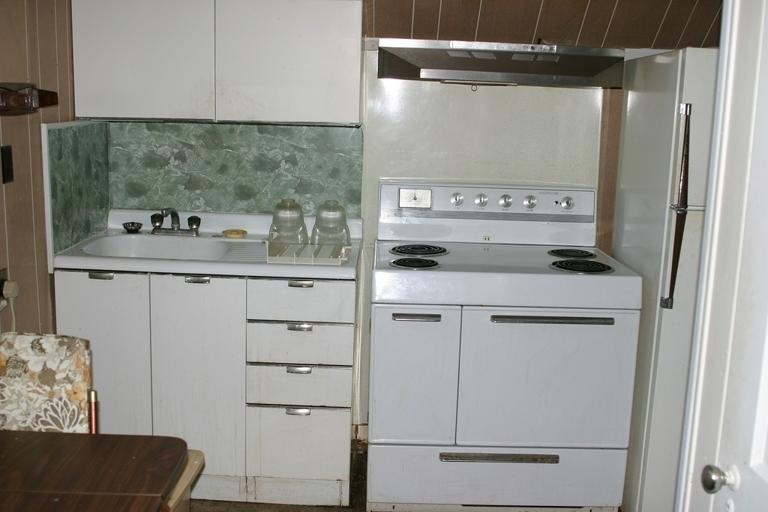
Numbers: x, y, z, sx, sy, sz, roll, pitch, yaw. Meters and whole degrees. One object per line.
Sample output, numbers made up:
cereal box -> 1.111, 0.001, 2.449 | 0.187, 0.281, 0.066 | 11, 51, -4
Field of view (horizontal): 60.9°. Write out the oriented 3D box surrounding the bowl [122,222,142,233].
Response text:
bowl -> -1.377, -0.159, 3.613 | 0.094, 0.056, 0.102 | 2, 6, 0

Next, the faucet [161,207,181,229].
faucet -> -1.170, -0.212, 3.624 | 0.104, 0.120, 0.112 | 0, 6, -19

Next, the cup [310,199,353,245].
cup -> -0.264, -0.183, 3.359 | 0.205, 0.263, 0.218 | 1, 14, 0

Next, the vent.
vent -> 0.625, -1.029, 3.464 | 1.320, 0.202, 0.340 | 2, 6, 0
